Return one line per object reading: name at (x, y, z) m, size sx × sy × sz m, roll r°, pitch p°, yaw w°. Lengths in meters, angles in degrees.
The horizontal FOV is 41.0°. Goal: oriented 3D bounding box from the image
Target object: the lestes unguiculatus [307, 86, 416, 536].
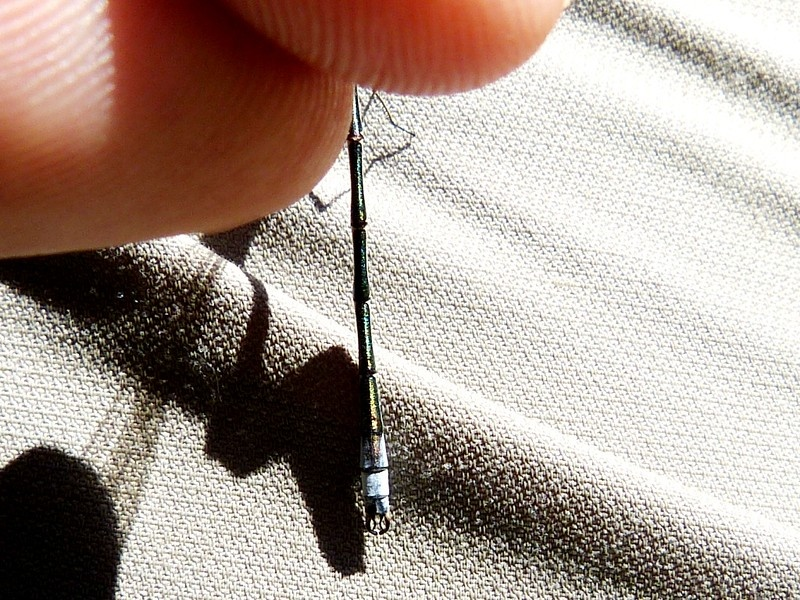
lestes unguiculatus at (-0.018, 0.011, 1.306) m, size 0.100 × 0.059 × 0.468 m, roll -2°, pitch 82°, yaw -1°
